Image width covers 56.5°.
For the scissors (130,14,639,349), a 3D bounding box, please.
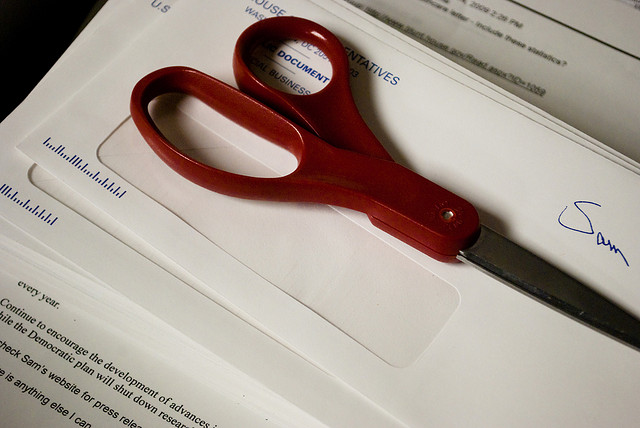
[{"bbox_3d":[0.020,-0.010,0.635,0.553,0.233,0.055,31,-16,17],"label":"scissors"}]
